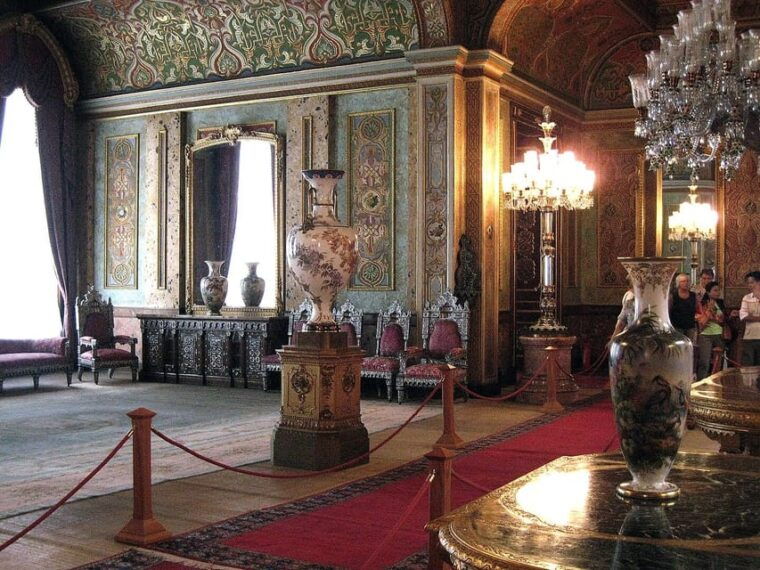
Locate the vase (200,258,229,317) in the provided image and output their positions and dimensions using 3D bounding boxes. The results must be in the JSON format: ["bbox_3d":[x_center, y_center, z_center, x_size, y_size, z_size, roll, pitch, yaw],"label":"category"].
[{"bbox_3d":[-2.751,0.036,10.902,0.426,0.900,0.321,0,-1,-16],"label":"vase"}]

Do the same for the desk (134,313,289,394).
[{"bbox_3d":[-2.800,1.057,10.922,2.445,1.174,0.642,1,4,16],"label":"desk"}]

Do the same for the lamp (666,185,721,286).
[{"bbox_3d":[5.874,-0.850,12.221,0.840,2.108,0.848,7,21,45],"label":"lamp"}]

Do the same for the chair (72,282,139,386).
[{"bbox_3d":[-4.638,0.816,11.008,0.849,1.464,0.896,-1,0,22],"label":"chair"}]
